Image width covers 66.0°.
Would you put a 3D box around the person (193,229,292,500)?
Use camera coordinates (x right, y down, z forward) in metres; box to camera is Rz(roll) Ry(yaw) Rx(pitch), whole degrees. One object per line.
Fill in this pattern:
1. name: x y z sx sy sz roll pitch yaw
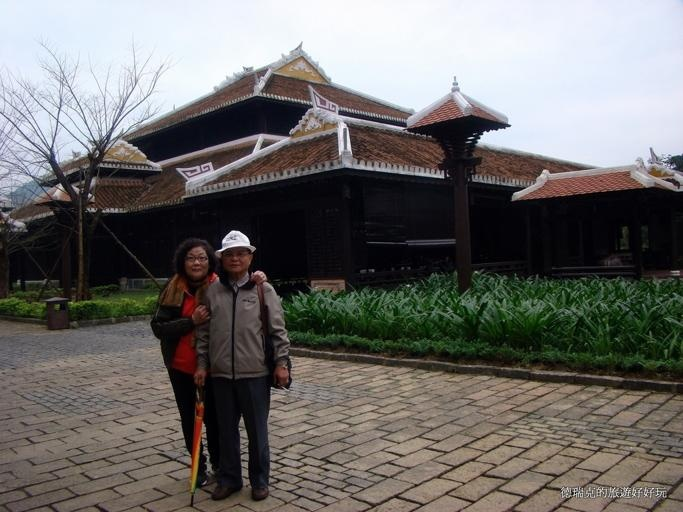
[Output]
1. person: -0.798 0.883 4.355 0.695 1.813 0.386 -4 2 -6

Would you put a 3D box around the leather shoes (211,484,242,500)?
1. leather shoes: -0.949 1.919 4.369 0.097 0.097 0.276 28 12 36

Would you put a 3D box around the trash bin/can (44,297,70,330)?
1. trash bin/can: -7.518 1.524 13.919 0.534 0.855 0.501 -5 2 -30

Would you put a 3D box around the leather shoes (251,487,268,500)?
1. leather shoes: -0.666 1.903 4.251 0.141 0.085 0.096 -4 2 -12

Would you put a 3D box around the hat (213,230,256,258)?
1. hat: -0.944 -0.109 4.559 0.313 0.131 0.293 -1 -6 -24

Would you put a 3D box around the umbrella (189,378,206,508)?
1. umbrella: -1.207 1.525 4.359 0.173 0.826 0.482 -5 2 -16
